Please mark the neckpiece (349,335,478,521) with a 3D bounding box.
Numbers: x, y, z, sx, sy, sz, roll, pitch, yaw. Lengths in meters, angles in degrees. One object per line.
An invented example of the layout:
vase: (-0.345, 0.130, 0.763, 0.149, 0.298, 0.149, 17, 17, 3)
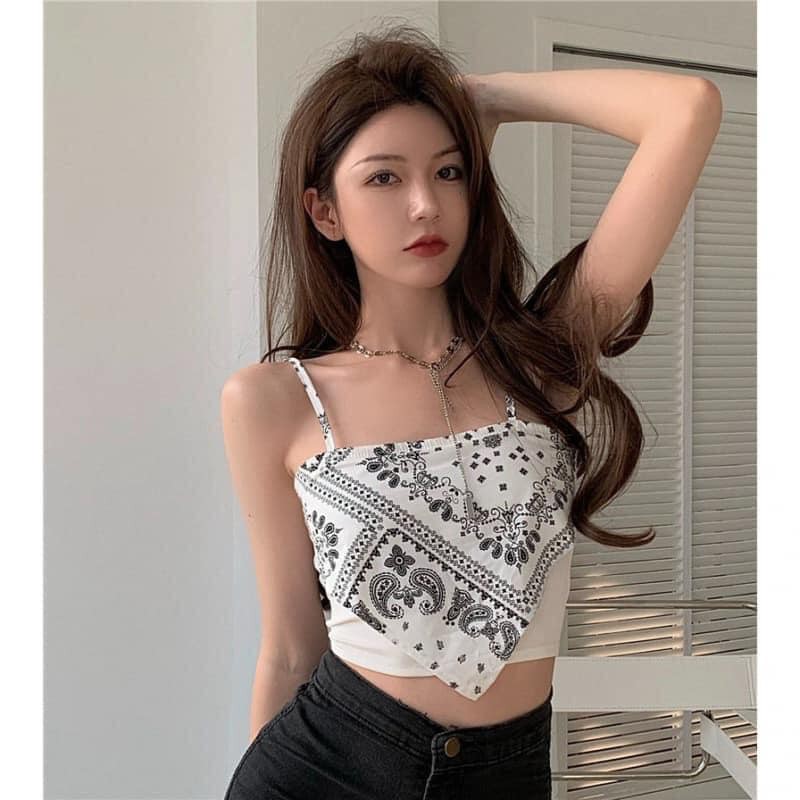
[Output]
neckpiece: (0.070, 0.034, 1.641, 0.167, 0.355, 0.030, -6, -37, -8)
